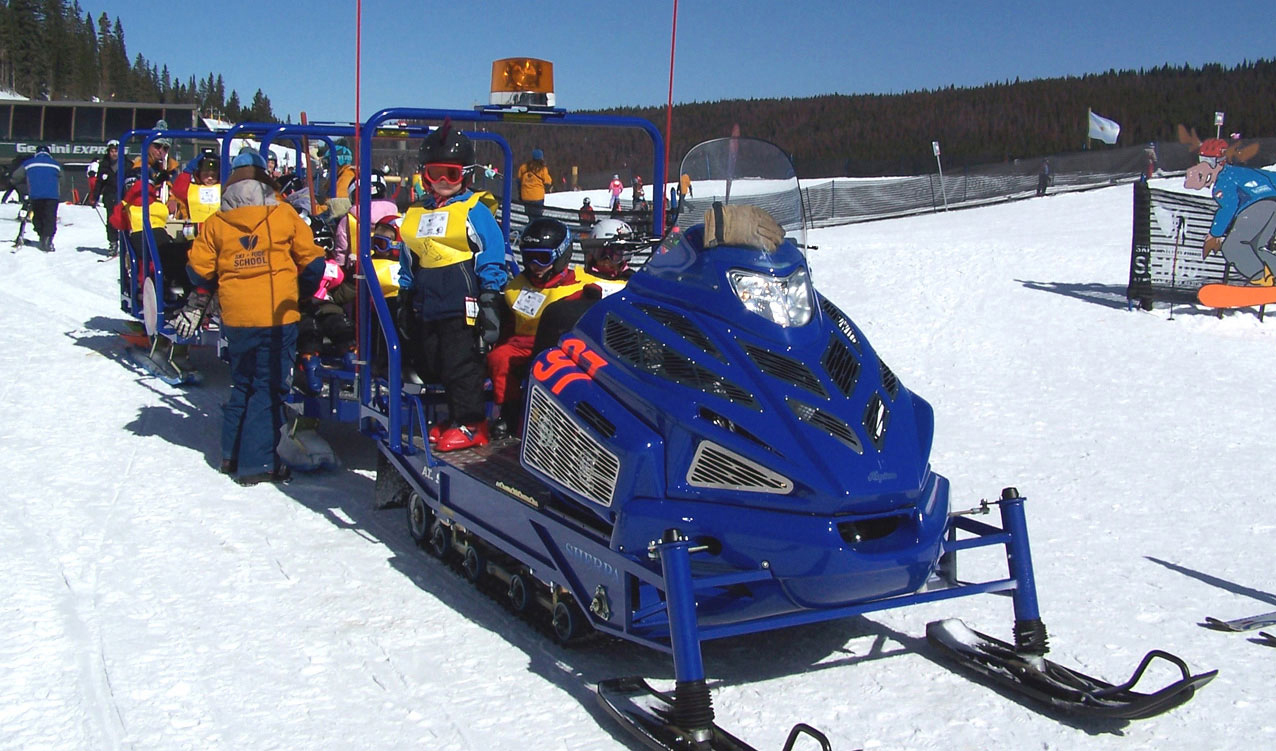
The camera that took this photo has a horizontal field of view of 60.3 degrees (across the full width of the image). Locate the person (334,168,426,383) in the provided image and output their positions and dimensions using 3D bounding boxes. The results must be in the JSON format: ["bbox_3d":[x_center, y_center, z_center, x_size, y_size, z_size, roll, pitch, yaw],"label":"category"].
[{"bbox_3d":[-2.851,-0.984,11.892,0.874,2.321,0.683,-7,-6,-10],"label":"person"}]

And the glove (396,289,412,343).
[{"bbox_3d":[-2.338,-0.574,10.984,0.162,0.415,0.273,-13,28,-21],"label":"glove"}]

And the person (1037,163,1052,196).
[{"bbox_3d":[13.761,-6.571,37.481,0.402,0.995,2.060,2,11,18],"label":"person"}]

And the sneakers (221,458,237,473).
[{"bbox_3d":[-4.141,0.927,11.081,0.158,0.144,0.155,-1,15,-19],"label":"sneakers"}]

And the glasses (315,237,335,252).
[{"bbox_3d":[-3.663,-1.498,12.808,0.122,0.152,0.141,-8,53,-25],"label":"glasses"}]

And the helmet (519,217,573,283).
[{"bbox_3d":[-0.834,-1.106,9.699,0.458,0.553,0.555,1,10,17],"label":"helmet"}]

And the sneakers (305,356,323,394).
[{"bbox_3d":[-3.345,0.019,11.243,0.124,0.329,0.201,-5,0,-33],"label":"sneakers"}]

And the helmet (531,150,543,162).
[{"bbox_3d":[-1.960,-4.157,21.011,0.191,0.236,0.300,-2,10,-6],"label":"helmet"}]

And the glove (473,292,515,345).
[{"bbox_3d":[-1.352,-0.509,10.098,0.315,0.421,0.166,-1,11,-26],"label":"glove"}]

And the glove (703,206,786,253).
[{"bbox_3d":[0.790,-1.112,8.384,0.610,0.348,0.268,0,10,4],"label":"glove"}]

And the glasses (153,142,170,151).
[{"bbox_3d":[-7.885,-3.753,18.155,0.195,0.146,0.244,-1,-1,-12],"label":"glasses"}]

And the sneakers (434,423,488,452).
[{"bbox_3d":[-1.580,0.560,9.795,0.571,0.269,0.198,-2,1,-36],"label":"sneakers"}]

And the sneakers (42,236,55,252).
[{"bbox_3d":[-11.580,-2.520,21.432,0.244,0.258,0.237,3,8,10],"label":"sneakers"}]

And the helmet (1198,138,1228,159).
[{"bbox_3d":[9.303,-3.649,17.783,0.430,0.303,0.531,4,11,25],"label":"helmet"}]

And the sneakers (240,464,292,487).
[{"bbox_3d":[-3.739,0.974,10.975,0.436,0.176,0.181,-8,16,-28],"label":"sneakers"}]

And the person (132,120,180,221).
[{"bbox_3d":[-7.188,-2.933,16.546,0.512,1.539,0.404,-13,39,-13],"label":"person"}]

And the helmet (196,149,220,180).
[{"bbox_3d":[-5.943,-2.800,14.927,0.361,0.438,0.463,1,8,-21],"label":"helmet"}]

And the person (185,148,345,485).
[{"bbox_3d":[-3.822,-0.511,11.018,1.171,3.065,0.723,-5,11,-22],"label":"person"}]

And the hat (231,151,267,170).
[{"bbox_3d":[-4.133,-2.252,11.597,0.367,0.172,0.539,-3,12,-20],"label":"hat"}]
